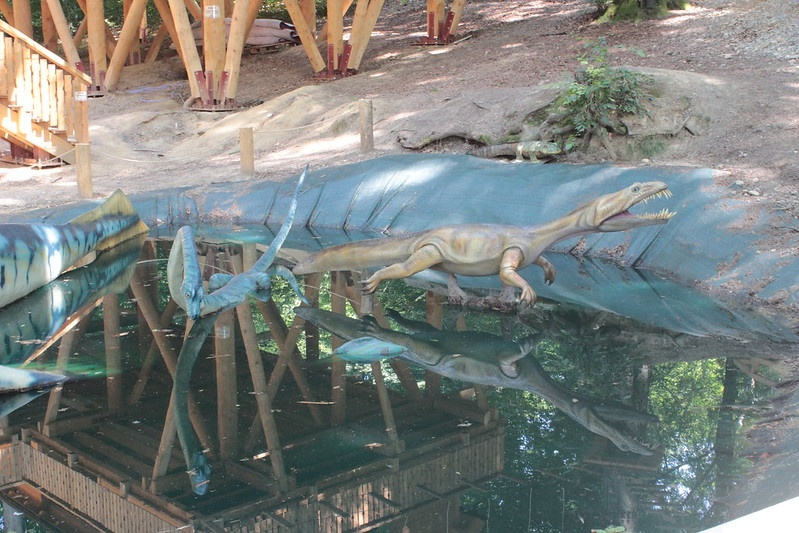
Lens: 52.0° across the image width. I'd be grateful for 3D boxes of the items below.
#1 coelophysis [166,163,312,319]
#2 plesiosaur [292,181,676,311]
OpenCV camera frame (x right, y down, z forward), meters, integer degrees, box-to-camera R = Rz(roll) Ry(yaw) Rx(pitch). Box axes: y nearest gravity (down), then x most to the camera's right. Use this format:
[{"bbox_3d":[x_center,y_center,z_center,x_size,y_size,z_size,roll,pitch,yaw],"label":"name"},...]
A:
[{"bbox_3d":[-2.166,-0.129,9.803,1.714,1.910,1.095,-13,20,-27],"label":"coelophysis"},{"bbox_3d":[0.557,-0.331,10.133,5.485,1.530,1.414,-4,14,17],"label":"plesiosaur"}]
